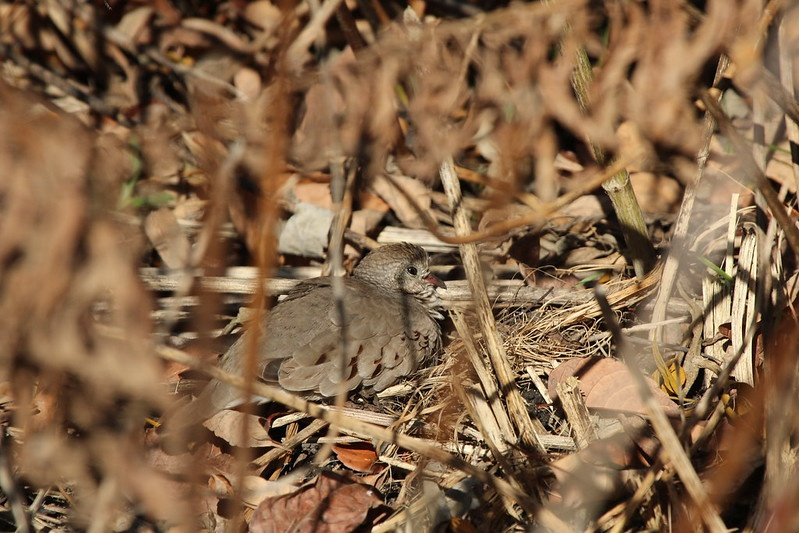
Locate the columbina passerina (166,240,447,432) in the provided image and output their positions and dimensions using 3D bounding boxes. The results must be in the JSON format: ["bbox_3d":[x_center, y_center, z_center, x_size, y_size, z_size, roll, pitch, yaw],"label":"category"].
[{"bbox_3d":[-0.316,0.362,3.961,1.222,0.627,0.644,-27,81,-6],"label":"columbina passerina"}]
